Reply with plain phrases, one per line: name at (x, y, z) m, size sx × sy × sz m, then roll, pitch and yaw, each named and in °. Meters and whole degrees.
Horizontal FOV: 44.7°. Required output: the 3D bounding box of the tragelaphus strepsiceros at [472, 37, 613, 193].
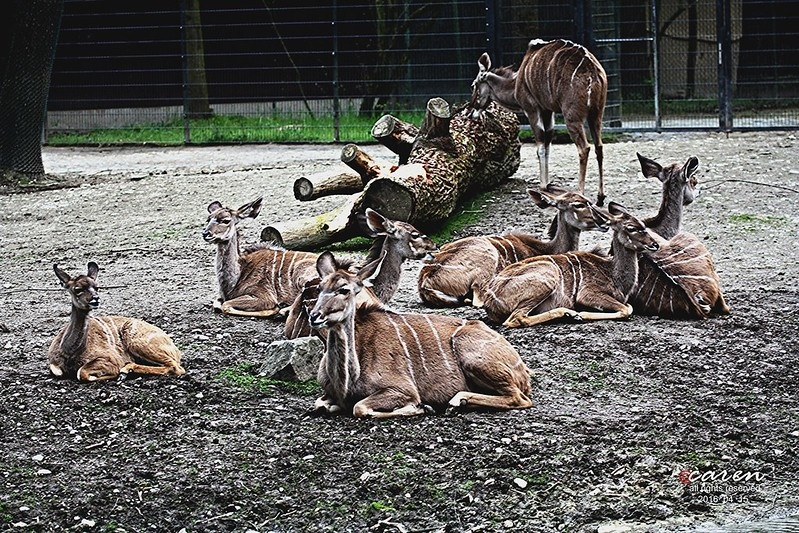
tragelaphus strepsiceros at (1.681, -1.608, 10.739) m, size 0.562 × 1.738 × 1.580 m, roll -10°, pitch 14°, yaw -40°

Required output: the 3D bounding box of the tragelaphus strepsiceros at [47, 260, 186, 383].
tragelaphus strepsiceros at (-2.181, 0.437, 7.309) m, size 0.796 × 0.799 × 1.085 m, roll -2°, pitch -2°, yaw 34°
